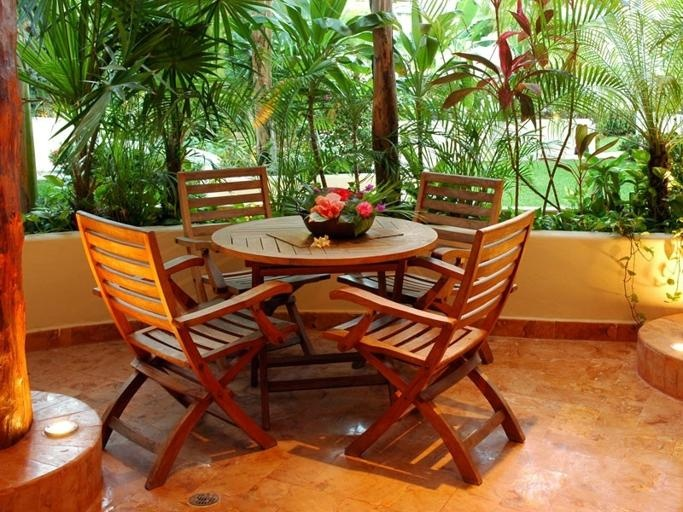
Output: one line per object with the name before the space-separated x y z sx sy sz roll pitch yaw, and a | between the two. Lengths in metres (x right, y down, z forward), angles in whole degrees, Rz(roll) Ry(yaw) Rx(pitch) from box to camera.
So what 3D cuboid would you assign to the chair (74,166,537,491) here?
chair | -0.201 0.460 2.825 2.480 1.015 0.758 -1 10 -3
